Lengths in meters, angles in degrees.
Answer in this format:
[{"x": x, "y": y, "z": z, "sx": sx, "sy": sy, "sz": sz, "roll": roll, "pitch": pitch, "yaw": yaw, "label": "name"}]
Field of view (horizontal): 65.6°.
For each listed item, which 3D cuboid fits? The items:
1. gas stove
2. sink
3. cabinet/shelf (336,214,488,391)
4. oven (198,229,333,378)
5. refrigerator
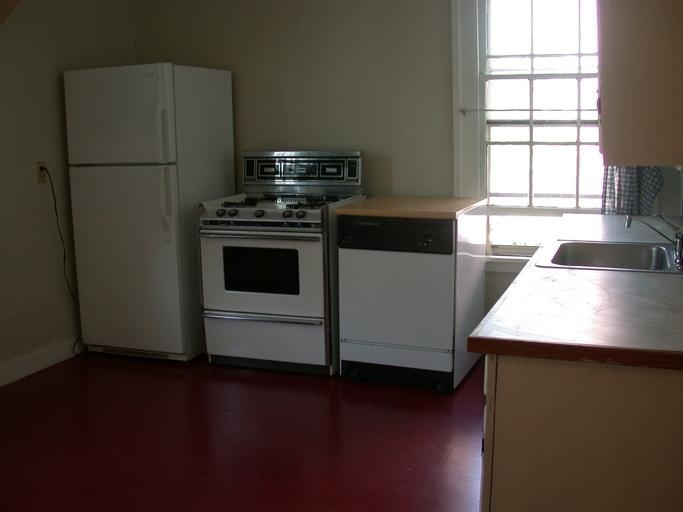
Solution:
[{"x": -0.451, "y": -0.338, "z": 3.594, "sx": 0.874, "sy": 0.110, "sz": 0.591, "roll": 3, "pitch": 15, "yaw": 14, "label": "gas stove"}, {"x": 1.204, "y": -0.006, "z": 2.345, "sx": 0.330, "sy": 0.133, "sz": 0.283, "roll": 2, "pitch": 18, "yaw": 18, "label": "sink"}, {"x": 0.398, "y": 0.144, "z": 3.533, "sx": 0.939, "sy": 1.131, "sz": 1.013, "roll": 13, "pitch": 25, "yaw": 36, "label": "cabinet/shelf"}, {"x": -0.442, "y": 0.191, "z": 3.725, "sx": 0.911, "sy": 1.042, "sz": 0.739, "roll": 3, "pitch": 12, "yaw": 17, "label": "oven"}, {"x": -1.359, "y": -0.290, "z": 3.684, "sx": 1.005, "sy": 1.972, "sz": 0.499, "roll": -1, "pitch": 12, "yaw": 0, "label": "refrigerator"}]
